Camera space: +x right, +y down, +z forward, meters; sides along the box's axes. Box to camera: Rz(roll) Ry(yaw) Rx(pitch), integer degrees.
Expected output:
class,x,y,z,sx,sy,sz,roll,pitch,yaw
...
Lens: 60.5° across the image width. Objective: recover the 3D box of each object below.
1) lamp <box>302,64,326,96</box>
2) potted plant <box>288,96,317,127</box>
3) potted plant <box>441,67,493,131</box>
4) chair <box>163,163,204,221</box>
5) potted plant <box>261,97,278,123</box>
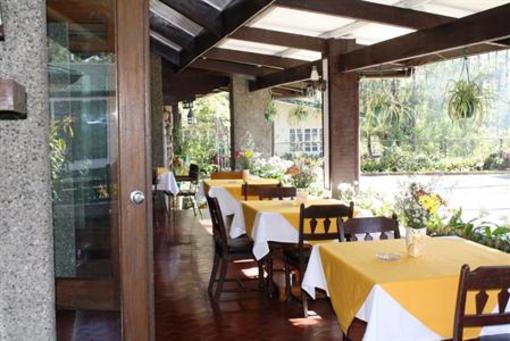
class,x,y,z,sx,sy,sz,roll,pitch,yaw
lamp,1.185,-1.645,8.296,0.333,0.578,0.255,-7,15,-21
potted plant,1.271,-1.439,10.485,0.943,0.617,0.578,-1,3,32
potted plant,2.831,-0.948,5.856,0.536,0.523,0.756,0,-2,38
chair,-1.625,0.467,9.750,0.706,1.196,0.899,-1,2,-17
potted plant,0.403,-1.489,11.075,0.336,0.484,0.287,0,-1,-18
